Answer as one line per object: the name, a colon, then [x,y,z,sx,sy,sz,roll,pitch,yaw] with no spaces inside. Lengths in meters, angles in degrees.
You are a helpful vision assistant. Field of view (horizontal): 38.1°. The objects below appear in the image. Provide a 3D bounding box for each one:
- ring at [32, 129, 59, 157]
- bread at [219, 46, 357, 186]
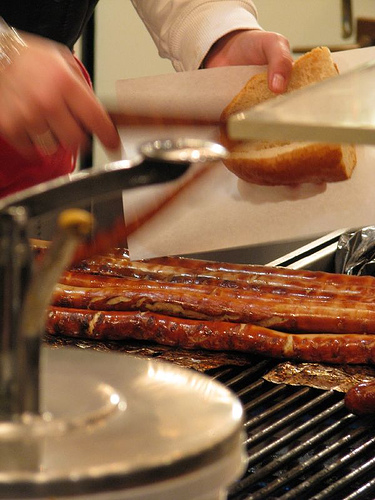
ring: [-0.255,-0.191,0.969,0.040,0.043,0.087,-4,13,-13]
bread: [0.251,-0.303,1.183,0.355,0.283,0.128,28,13,38]
